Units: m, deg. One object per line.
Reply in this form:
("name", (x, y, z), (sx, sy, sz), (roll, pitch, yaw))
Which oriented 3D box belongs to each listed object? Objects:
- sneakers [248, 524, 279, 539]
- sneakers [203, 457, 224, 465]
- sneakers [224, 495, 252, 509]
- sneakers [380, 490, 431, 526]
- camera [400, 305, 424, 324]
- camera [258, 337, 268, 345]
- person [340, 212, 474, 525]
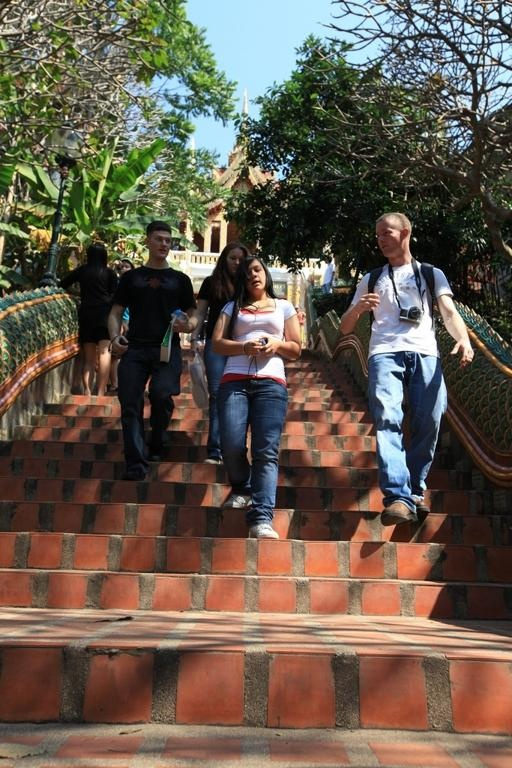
("sneakers", (0.051, 0.816, 2.899), (0.069, 0.066, 0.161), (9, -17, -26))
("sneakers", (-0.370, 0.644, 4.421), (0.173, 0.075, 0.079), (14, -9, -25))
("sneakers", (-0.126, 0.755, 3.382), (0.065, 0.072, 0.181), (9, -14, 31))
("sneakers", (0.877, 0.748, 3.143), (0.161, 0.182, 0.394), (-15, -23, 32))
("camera", (1.047, -0.462, 3.656), (0.165, 0.103, 0.177), (-5, -9, 31))
("camera", (0.043, -0.273, 3.381), (0.054, 0.040, 0.015), (-10, -17, -20))
("person", (1.008, -0.180, 3.453), (0.698, 1.903, 1.166), (3, 11, 5))
